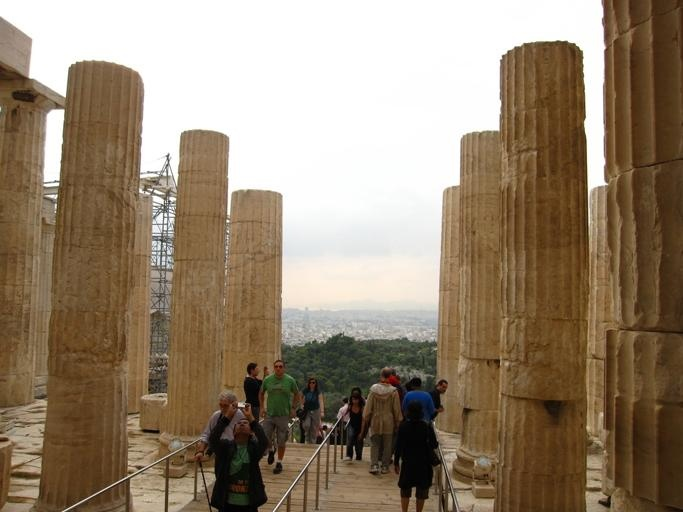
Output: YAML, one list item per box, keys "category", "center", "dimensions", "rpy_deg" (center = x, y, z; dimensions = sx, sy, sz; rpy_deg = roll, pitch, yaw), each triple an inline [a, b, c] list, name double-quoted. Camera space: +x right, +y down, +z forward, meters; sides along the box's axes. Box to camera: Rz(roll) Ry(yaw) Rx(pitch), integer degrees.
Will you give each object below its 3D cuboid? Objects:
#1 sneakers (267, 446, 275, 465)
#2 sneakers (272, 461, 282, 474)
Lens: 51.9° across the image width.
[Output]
- category: "sneakers"
  center: [-1.179, 3.372, 11.786]
  dimensions: [0.115, 0.336, 0.138]
  rpy_deg: [-2, -6, 35]
- category: "sneakers"
  center: [-1.063, 3.510, 11.596]
  dimensions: [0.121, 0.137, 0.339]
  rpy_deg: [1, -11, 1]
